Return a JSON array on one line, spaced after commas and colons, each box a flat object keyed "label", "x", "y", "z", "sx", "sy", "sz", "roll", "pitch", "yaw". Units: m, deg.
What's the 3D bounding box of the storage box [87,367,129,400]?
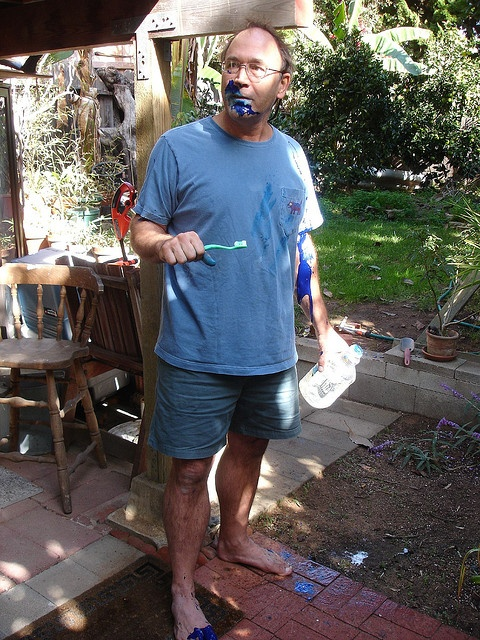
[{"label": "storage box", "x": -0.934, "y": 0.438, "z": 3.545, "sx": 0.152, "sy": 0.221, "sz": 0.272, "roll": 15, "pitch": 25, "yaw": 32}]

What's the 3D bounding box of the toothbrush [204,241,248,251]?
[{"label": "toothbrush", "x": -0.036, "y": -0.197, "z": 1.379, "sx": 0.115, "sy": 0.033, "sz": 0.158, "roll": 1, "pitch": 10, "yaw": 0}]

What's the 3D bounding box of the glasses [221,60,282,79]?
[{"label": "glasses", "x": 0.035, "y": -0.694, "z": 1.426, "sx": 0.175, "sy": 0.070, "sz": 0.092, "roll": 2, "pitch": 11, "yaw": 3}]

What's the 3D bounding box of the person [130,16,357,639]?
[{"label": "person", "x": -0.055, "y": 0.093, "z": 1.670, "sx": 0.451, "sy": 1.959, "sz": 0.845, "roll": 5, "pitch": 12, "yaw": 21}]
